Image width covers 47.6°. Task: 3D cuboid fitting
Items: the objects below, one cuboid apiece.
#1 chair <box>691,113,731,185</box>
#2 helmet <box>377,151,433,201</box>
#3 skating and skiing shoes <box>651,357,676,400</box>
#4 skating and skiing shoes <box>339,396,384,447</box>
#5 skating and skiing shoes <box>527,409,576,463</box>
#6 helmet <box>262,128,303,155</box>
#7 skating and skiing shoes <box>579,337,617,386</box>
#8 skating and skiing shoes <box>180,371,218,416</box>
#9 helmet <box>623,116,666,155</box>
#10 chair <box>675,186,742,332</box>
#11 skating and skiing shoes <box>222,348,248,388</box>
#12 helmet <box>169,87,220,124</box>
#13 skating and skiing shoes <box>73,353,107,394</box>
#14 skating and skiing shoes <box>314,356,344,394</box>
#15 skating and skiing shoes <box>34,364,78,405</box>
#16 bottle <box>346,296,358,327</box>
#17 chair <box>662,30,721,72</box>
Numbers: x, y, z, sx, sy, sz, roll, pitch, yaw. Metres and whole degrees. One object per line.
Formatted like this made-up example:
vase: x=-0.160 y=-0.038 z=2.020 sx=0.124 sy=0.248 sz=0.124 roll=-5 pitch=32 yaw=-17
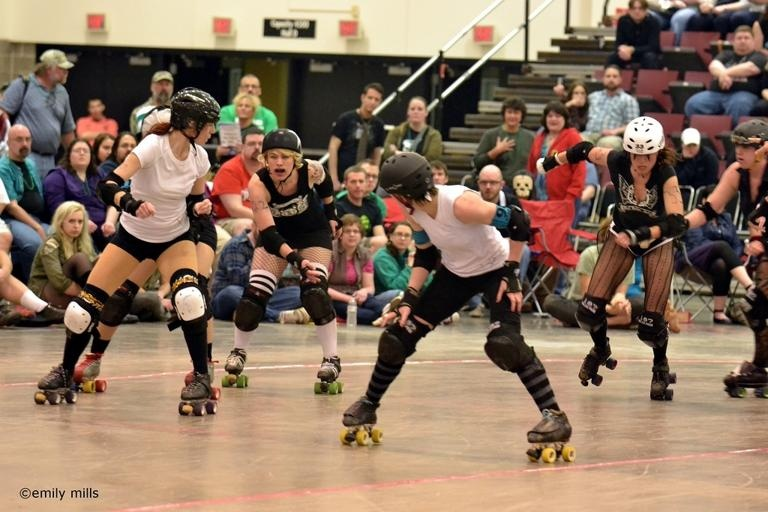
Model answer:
chair: x=4.848 y=-1.776 z=12.987 sx=0.594 sy=0.647 sz=0.311 roll=5 pitch=6 yaw=15
helmet: x=0.144 y=-0.515 z=5.622 sx=0.357 sy=0.302 sz=0.201 roll=4 pitch=5 yaw=6
skating and skiing shoes: x=2.237 y=0.979 z=7.059 sx=0.190 sy=0.238 sz=0.382 roll=-7 pitch=17 yaw=30
skating and skiing shoes: x=-0.155 y=1.081 z=5.772 sx=0.204 sy=0.295 sz=0.394 roll=1 pitch=-2 yaw=26
skating and skiing shoes: x=1.027 y=1.116 z=5.403 sx=0.290 sy=0.311 sz=0.273 roll=4 pitch=-6 yaw=-14
helmet: x=-0.810 y=-0.905 z=6.884 sx=0.306 sy=0.193 sz=0.193 roll=2 pitch=6 yaw=-17
skating and skiing shoes: x=1.749 y=0.897 z=7.256 sx=0.229 sy=0.228 sz=0.457 roll=5 pitch=29 yaw=41
skating and skiing shoes: x=-1.335 y=0.985 z=6.222 sx=0.256 sy=0.263 sz=0.235 roll=2 pitch=6 yaw=-17
helmet: x=2.006 y=-0.924 z=6.723 sx=0.294 sy=0.294 sz=0.236 roll=5 pitch=6 yaw=19
chair: x=4.150 y=0.156 z=11.088 sx=0.860 sy=1.366 sz=0.791 roll=6 pitch=6 yaw=22
skating and skiing shoes: x=-1.216 y=0.906 z=7.117 sx=0.206 sy=0.282 sz=0.263 roll=3 pitch=6 yaw=-10
helmet: x=-1.370 y=-1.115 z=6.286 sx=0.306 sy=0.281 sz=0.243 roll=-2 pitch=25 yaw=-9
skating and skiing shoes: x=-2.321 y=0.900 z=6.809 sx=0.240 sy=0.287 sz=0.384 roll=9 pitch=-9 yaw=5
skating and skiing shoes: x=-0.440 y=0.950 z=6.987 sx=0.229 sy=0.253 sz=0.262 roll=4 pitch=5 yaw=0
skating and skiing shoes: x=-2.421 y=0.945 z=6.430 sx=0.209 sy=0.263 sz=0.435 roll=5 pitch=-5 yaw=6
bottle: x=-0.391 y=0.668 z=10.477 sx=0.138 sy=0.341 sz=0.231 roll=3 pitch=5 yaw=-2
chair: x=5.130 y=-3.513 z=14.876 sx=0.788 sy=0.873 sz=0.795 roll=-1 pitch=-7 yaw=1
